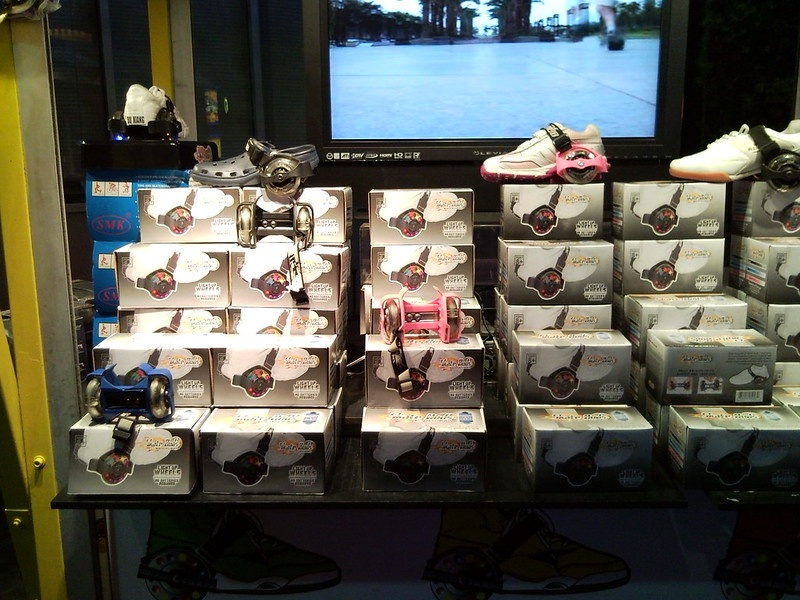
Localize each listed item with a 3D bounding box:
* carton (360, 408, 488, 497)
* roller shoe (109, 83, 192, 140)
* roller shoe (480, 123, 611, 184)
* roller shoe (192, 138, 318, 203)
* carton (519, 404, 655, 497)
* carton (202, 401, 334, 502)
[{"bbox_3d":[0.072,0.446,2.109,0.434,0.228,0.206,0,16,-2],"label":"carton"},{"bbox_3d":[-1.112,-0.852,2.813,0.314,0.204,0.408,2,20,2],"label":"roller shoe"},{"bbox_3d":[0.549,-0.554,2.372,0.422,0.200,0.237,2,14,9],"label":"roller shoe"},{"bbox_3d":[-0.546,-0.456,2.358,0.434,0.195,0.264,-4,28,-4],"label":"roller shoe"},{"bbox_3d":[0.616,0.479,1.972,0.368,0.180,0.266,-1,11,1],"label":"carton"},{"bbox_3d":[-0.438,0.492,1.977,0.367,0.169,0.263,0,14,4],"label":"carton"}]
